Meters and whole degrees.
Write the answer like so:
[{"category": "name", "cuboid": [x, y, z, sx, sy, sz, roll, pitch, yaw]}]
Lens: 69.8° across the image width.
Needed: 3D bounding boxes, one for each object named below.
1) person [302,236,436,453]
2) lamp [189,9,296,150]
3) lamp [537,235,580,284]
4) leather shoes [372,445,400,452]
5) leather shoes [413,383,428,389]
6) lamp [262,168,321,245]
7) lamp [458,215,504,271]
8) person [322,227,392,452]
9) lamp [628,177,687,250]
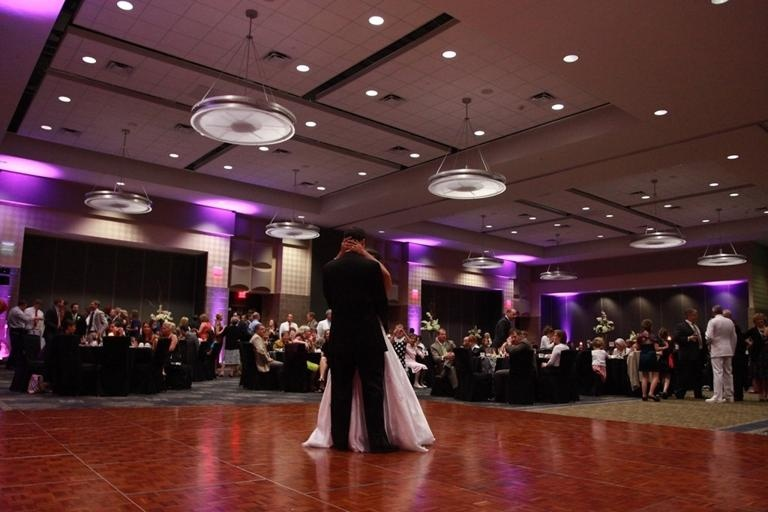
[{"category": "person", "cuboid": [-0.212, 0.934, 6.268, 1.284, 2.500, 0.589, 1, -13, -8]}, {"category": "lamp", "cuboid": [-2.281, -3.402, 9.529, 1.412, 1.532, 1.361, -3, 12, -4]}, {"category": "lamp", "cuboid": [7.169, 0.445, 22.695, 1.146, 1.185, 1.113, -1, -10, 6]}, {"category": "leather shoes", "cuboid": [0.027, 2.113, 6.029, 0.338, 0.082, 0.107, 9, -16, -37]}, {"category": "leather shoes", "cuboid": [0.921, 3.407, 14.319, 0.150, 0.183, 0.441, 16, -28, -42]}, {"category": "lamp", "cuboid": [-3.110, -1.450, 16.961, 2.004, 2.126, 1.975, 1, -16, 1]}, {"category": "lamp", "cuboid": [3.883, -0.365, 21.433, 1.966, 2.096, 1.919, -1, -15, 12]}, {"category": "person", "cuboid": [-0.308, 0.952, 6.401, 0.777, 2.470, 0.634, -2, -5, 3]}, {"category": "lamp", "cuboid": [8.734, -1.438, 17.429, 1.360, 2.290, 1.347, 19, -22, -40]}]
